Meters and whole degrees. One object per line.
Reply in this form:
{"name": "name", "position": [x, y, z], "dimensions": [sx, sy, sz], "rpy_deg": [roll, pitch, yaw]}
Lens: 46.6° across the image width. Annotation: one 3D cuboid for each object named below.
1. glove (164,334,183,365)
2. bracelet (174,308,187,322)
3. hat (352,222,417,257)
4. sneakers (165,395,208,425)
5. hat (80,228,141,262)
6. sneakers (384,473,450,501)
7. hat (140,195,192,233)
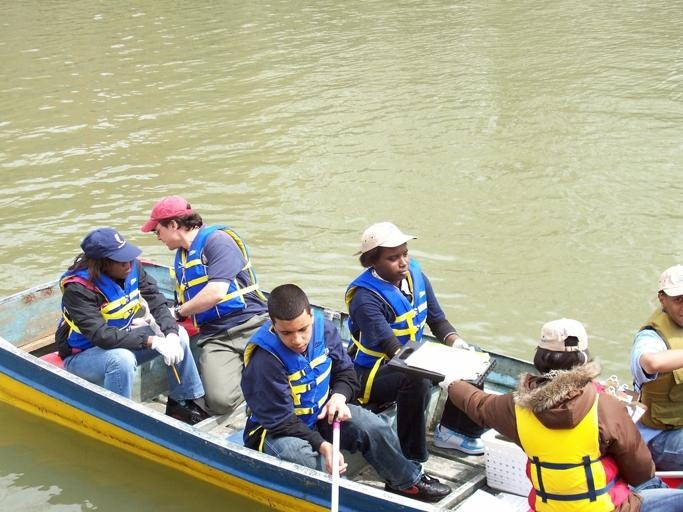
{"name": "glove", "position": [-1.551, 0.861, 7.336], "dimensions": [0.175, 0.272, 0.108], "rpy_deg": [-6, -20, -35]}
{"name": "bracelet", "position": [-1.556, 0.569, 7.639], "dimensions": [0.118, 0.068, 0.114], "rpy_deg": [30, -13, 7]}
{"name": "hat", "position": [0.348, -0.114, 6.884], "dimensions": [0.492, 0.181, 0.297], "rpy_deg": [-11, 5, 32]}
{"name": "sneakers", "position": [-1.492, 1.493, 7.622], "dimensions": [0.515, 0.183, 0.182], "rpy_deg": [10, 47, 13]}
{"name": "hat", "position": [-2.093, -0.097, 7.200], "dimensions": [0.488, 0.164, 0.274], "rpy_deg": [8, 27, -10]}
{"name": "sneakers", "position": [0.589, 1.909, 6.596], "dimensions": [0.620, 0.224, 0.193], "rpy_deg": [2, 27, 3]}
{"name": "hat", "position": [-1.705, -0.388, 7.676], "dimensions": [0.556, 0.235, 0.320], "rpy_deg": [-19, -4, -6]}
